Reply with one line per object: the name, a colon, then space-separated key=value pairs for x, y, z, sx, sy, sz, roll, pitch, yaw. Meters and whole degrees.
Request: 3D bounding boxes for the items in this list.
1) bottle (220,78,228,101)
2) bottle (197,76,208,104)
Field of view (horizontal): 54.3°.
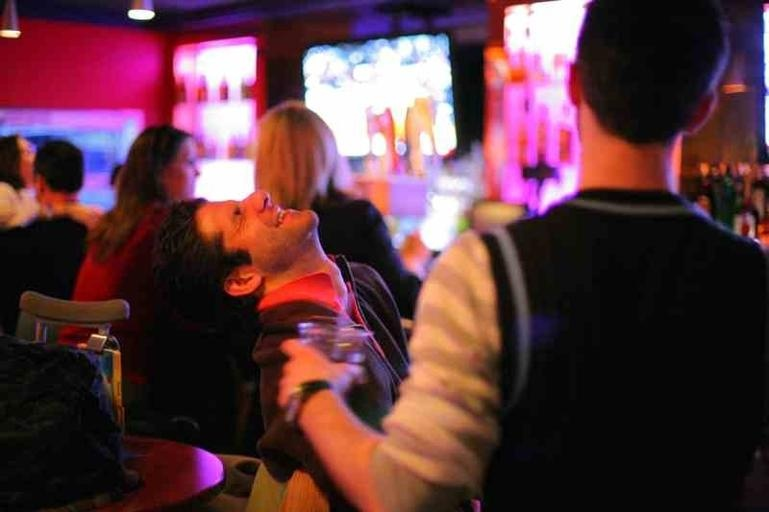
bottle: x=-1.174 y=-1.213 z=5.495 sx=0.103 sy=0.146 sz=0.020 roll=5 pitch=5 yaw=43
bottle: x=-1.375 y=-1.257 z=5.634 sx=0.042 sy=0.190 sz=0.139 roll=-3 pitch=5 yaw=-45
